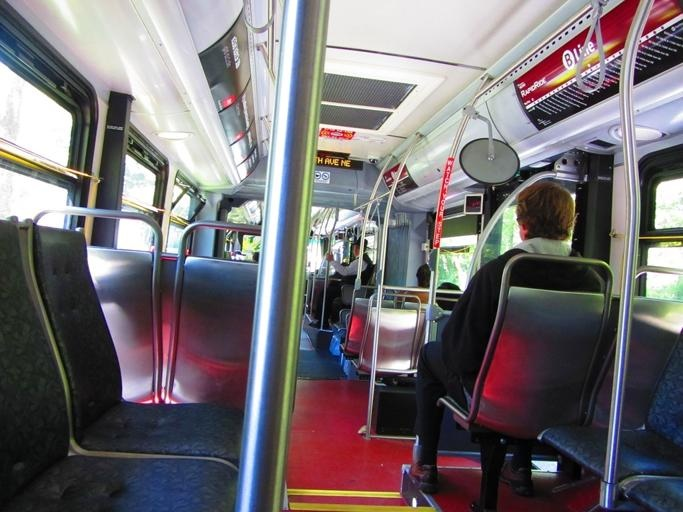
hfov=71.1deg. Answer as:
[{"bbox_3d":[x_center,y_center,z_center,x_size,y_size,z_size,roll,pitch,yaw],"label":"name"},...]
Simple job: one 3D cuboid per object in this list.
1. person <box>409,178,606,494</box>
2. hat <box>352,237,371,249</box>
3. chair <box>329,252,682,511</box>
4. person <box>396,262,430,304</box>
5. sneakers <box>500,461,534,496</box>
[{"bbox_3d":[0.976,0.574,2.955,0.937,2.010,1.154,5,-1,-15],"label":"person"},{"bbox_3d":[0.329,-0.238,7.986,0.185,0.221,0.236,4,-7,-16],"label":"hat"},{"bbox_3d":[0.939,0.765,2.767,1.292,0.951,0.790,6,4,1],"label":"chair"},{"bbox_3d":[1.099,0.380,7.271,0.479,0.925,0.488,3,-7,-4],"label":"person"},{"bbox_3d":[1.060,1.327,2.910,0.100,0.119,0.268,1,-5,1],"label":"sneakers"}]
